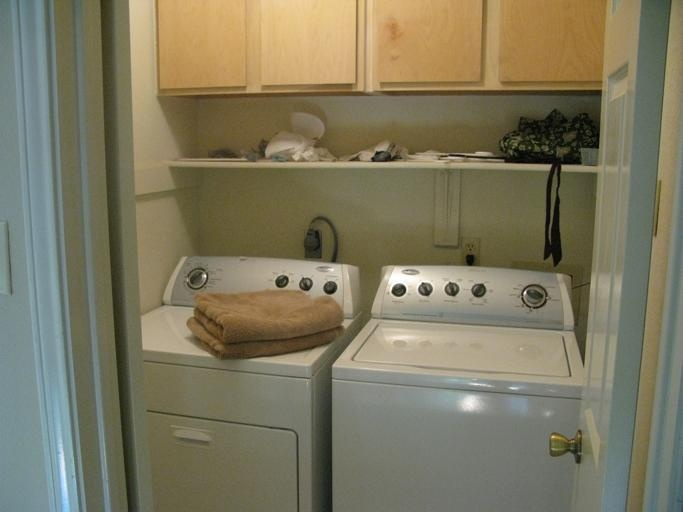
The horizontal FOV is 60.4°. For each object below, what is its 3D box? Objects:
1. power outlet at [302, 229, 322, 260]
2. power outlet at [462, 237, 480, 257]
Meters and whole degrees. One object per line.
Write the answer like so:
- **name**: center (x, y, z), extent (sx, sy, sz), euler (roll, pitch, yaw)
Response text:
- **power outlet**: center (-0.136, -0.053, 2.822), extent (0.085, 0.147, 0.081), euler (2, 0, -3)
- **power outlet**: center (0.591, -0.042, 2.666), extent (0.075, 0.093, 0.009), euler (3, 3, 9)
